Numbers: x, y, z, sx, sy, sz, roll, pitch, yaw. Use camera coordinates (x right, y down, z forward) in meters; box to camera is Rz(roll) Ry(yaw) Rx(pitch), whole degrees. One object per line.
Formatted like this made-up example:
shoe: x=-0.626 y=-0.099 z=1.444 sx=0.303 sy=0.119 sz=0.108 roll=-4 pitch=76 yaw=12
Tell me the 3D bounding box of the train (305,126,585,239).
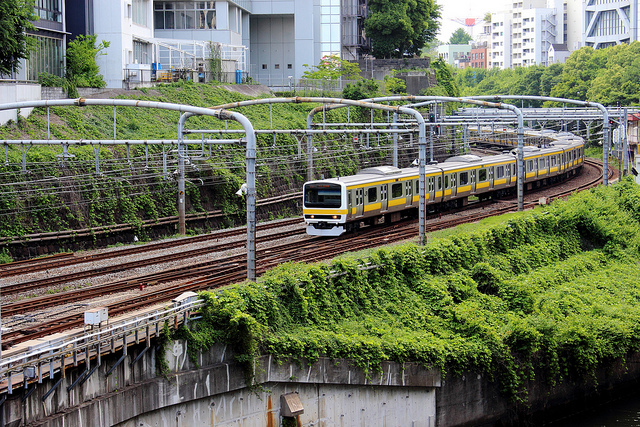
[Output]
train: x=10.747 y=-2.856 z=57.834 sx=9.661 sy=5.087 sz=27.938 roll=5 pitch=13 yaw=33
